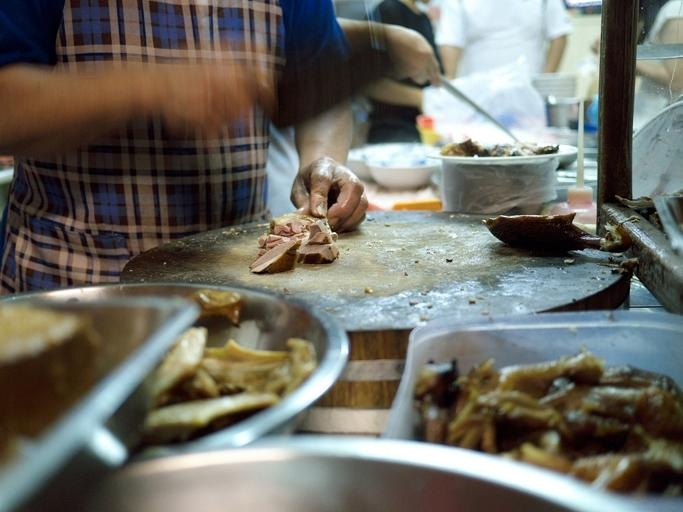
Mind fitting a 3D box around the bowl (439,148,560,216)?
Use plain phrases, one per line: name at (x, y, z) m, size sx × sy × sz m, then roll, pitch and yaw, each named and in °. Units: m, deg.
bowl at (0.495, -0.246, 2.264) m, size 0.256 × 0.184 × 0.261 m, roll -3°, pitch 7°, yaw 0°
